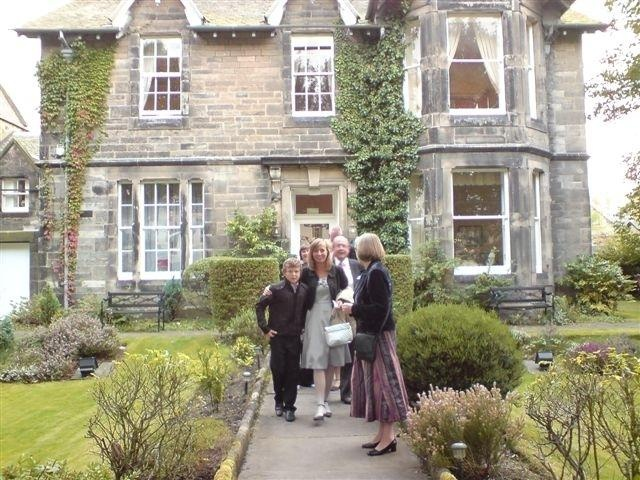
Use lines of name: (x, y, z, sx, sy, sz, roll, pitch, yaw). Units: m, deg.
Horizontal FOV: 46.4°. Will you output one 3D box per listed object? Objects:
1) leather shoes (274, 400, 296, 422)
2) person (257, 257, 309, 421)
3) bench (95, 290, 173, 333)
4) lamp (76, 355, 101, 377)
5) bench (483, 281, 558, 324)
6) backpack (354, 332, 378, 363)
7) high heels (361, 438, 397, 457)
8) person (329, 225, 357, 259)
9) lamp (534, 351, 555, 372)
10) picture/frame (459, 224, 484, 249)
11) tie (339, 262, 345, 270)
leather shoes: (-0.550, 2.741, 11.780, 0.141, 0.189, 0.407, 1, -4, -21)
person: (-0.580, 1.589, 11.822, 0.769, 2.557, 0.498, 0, -6, -3)
bench: (-4.534, 1.744, 18.334, 1.565, 0.983, 1.730, 1, -7, -14)
lamp: (-4.479, 2.449, 14.398, 0.315, 0.373, 0.345, 1, -5, -8)
bench: (4.792, 1.542, 17.919, 1.772, 0.946, 0.796, 1, -7, -16)
backpack: (0.671, 1.545, 10.679, 0.362, 0.417, 0.164, 0, -9, 20)
high heels: (0.871, 3.027, 10.811, 0.360, 0.179, 0.237, 2, -1, -5)
person: (0.444, 0.055, 14.039, 0.539, 0.931, 0.302, -1, -8, -8)
lamp: (4.268, 2.316, 14.137, 0.321, 0.343, 0.849, -2, -7, 8)
picture/frame: (3.850, -0.061, 18.981, 0.490, 0.547, 0.055, 3, -11, 2)
tie: (0.362, 0.446, 12.351, 0.078, 0.087, 0.024, 5, -26, 5)
